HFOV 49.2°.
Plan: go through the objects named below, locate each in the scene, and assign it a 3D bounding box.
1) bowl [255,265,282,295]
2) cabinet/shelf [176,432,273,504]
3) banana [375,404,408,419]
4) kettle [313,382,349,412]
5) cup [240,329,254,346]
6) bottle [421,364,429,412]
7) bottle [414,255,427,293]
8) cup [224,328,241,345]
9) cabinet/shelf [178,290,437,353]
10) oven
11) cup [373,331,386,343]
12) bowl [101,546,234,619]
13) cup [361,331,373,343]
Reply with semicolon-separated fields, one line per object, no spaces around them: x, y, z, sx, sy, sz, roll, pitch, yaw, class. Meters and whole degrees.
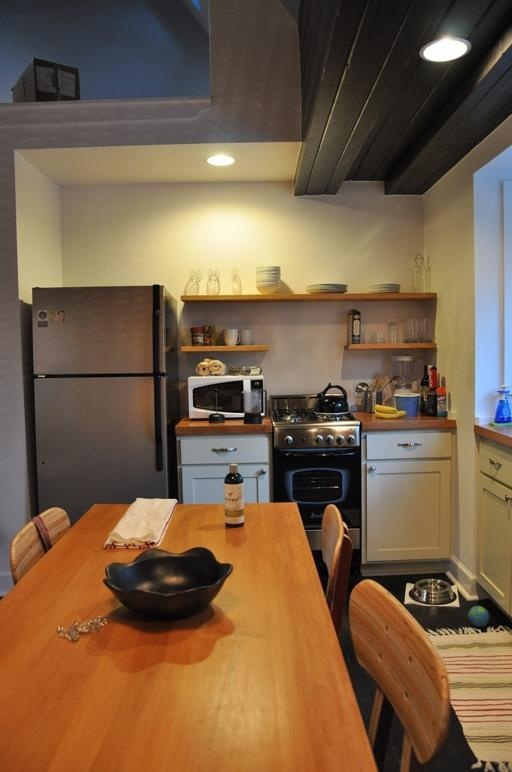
0.076;-0.671;3.578;0.146;0.176;0.160;-1;-2;0;bowl
-0.175;0.367;3.213;0.512;0.565;0.375;0;-5;0;cabinet/shelf
0.783;0.149;3.336;0.078;0.062;0.140;-4;3;-39;banana
0.470;0.074;3.418;0.197;0.188;0.159;1;-3;-16;kettle
-0.066;-0.310;3.595;0.060;0.098;0.103;0;-3;-6;cup
1.039;0.021;3.454;0.039;0.287;0.270;1;4;16;bottle
1.060;-0.732;3.623;0.071;0.250;0.194;1;4;11;bottle
-0.156;-0.307;3.478;0.105;0.102;0.067;5;-7;-33;cup
0.357;-0.430;3.578;1.513;0.363;0.334;0;4;2;cabinet/shelf
0.354;0.682;3.210;0.496;0.509;0.399;-2;-40;6;oven
0.811;-0.318;3.698;0.069;0.103;0.073;0;-1;0;cup
-0.191;0.428;1.212;0.251;0.095;0.282;-1;2;-18;bowl
0.729;-0.324;3.656;0.068;0.085;0.078;6;18;20;cup
